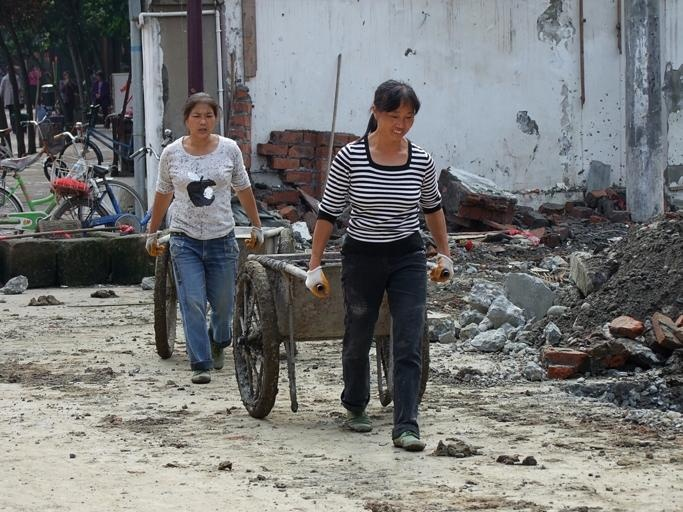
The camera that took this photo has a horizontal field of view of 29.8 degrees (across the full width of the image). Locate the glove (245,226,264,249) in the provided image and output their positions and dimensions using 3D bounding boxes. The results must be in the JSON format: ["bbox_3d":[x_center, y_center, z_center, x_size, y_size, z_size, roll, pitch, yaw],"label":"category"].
[{"bbox_3d":[-0.817,-0.183,12.593,0.124,0.243,0.206,-3,4,-42],"label":"glove"}]

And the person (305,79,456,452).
[{"bbox_3d":[0.353,0.083,10.713,1.167,3.001,0.772,0,11,-3],"label":"person"}]

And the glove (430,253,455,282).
[{"bbox_3d":[0.850,0.104,10.953,0.150,0.262,0.235,1,8,-6],"label":"glove"}]

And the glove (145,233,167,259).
[{"bbox_3d":[-1.802,-0.105,12.525,0.172,0.285,0.095,0,3,-15],"label":"glove"}]

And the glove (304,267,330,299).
[{"bbox_3d":[-0.200,0.229,10.877,0.204,0.241,0.120,-7,3,-17],"label":"glove"}]

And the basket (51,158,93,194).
[{"bbox_3d":[-3.695,-1.109,17.647,0.438,0.571,0.490,10,-9,-23],"label":"basket"}]

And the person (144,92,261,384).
[{"bbox_3d":[-1.322,-0.157,12.304,1.065,2.726,0.682,-2,11,-10],"label":"person"}]

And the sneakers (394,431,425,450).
[{"bbox_3d":[0.566,1.561,10.673,0.128,0.116,0.263,32,-21,-22],"label":"sneakers"}]

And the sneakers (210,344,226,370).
[{"bbox_3d":[-1.215,1.013,12.711,0.081,0.296,0.110,-4,6,-2],"label":"sneakers"}]

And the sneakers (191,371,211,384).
[{"bbox_3d":[-1.331,1.162,12.282,0.199,0.119,0.169,-4,14,-19],"label":"sneakers"}]

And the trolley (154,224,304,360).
[{"bbox_3d":[-1.376,0.393,12.894,0.915,1.006,1.587,0,2,-9],"label":"trolley"}]
